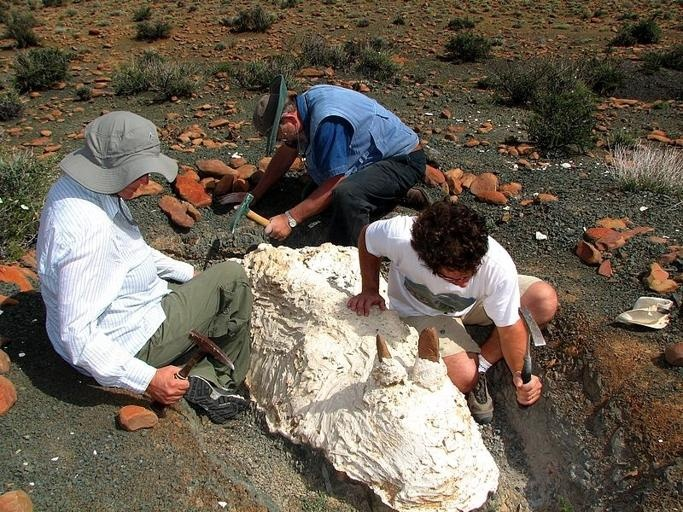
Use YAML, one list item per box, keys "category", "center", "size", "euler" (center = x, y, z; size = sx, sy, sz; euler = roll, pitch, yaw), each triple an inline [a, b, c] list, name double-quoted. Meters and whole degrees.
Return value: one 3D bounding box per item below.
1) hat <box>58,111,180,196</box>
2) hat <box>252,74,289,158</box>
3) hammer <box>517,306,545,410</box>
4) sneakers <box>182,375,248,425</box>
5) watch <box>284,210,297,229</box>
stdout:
- category: "hat"
  center: [-1.265, -0.582, 3.008]
  size: [0.520, 0.284, 0.520]
  euler: [20, 30, 23]
- category: "hat"
  center: [-0.493, -1.217, 4.431]
  size: [0.194, 0.560, 0.456]
  euler: [9, 15, -4]
- category: "hammer"
  center: [1.203, 0.602, 3.382]
  size: [0.077, 0.523, 0.580]
  euler: [-2, 84, 14]
- category: "sneakers"
  center: [-0.826, 0.945, 3.515]
  size: [0.233, 0.507, 0.225]
  euler: [-47, 36, 1]
- category: "watch"
  center: [-0.421, -0.310, 4.457]
  size: [0.093, 0.113, 0.102]
  euler: [-14, 42, -13]
